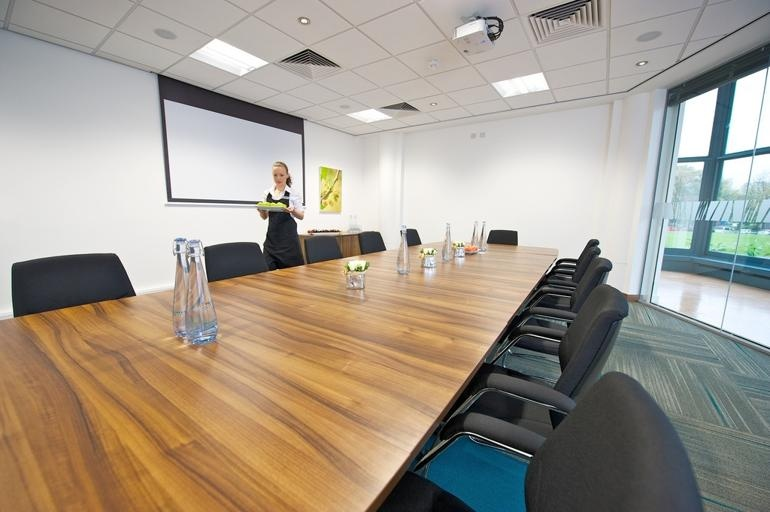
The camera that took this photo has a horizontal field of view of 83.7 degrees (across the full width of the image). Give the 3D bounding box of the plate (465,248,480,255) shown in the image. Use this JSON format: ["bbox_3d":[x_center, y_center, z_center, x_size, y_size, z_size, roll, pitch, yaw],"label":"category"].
[{"bbox_3d":[1.044,-0.054,5.163,0.091,0.020,0.130,6,17,27],"label":"plate"}]

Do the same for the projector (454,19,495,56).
[{"bbox_3d":[0.957,-2.382,4.712,0.395,0.228,0.398,5,10,26],"label":"projector"}]

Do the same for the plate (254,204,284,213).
[{"bbox_3d":[-1.313,-0.540,4.982,0.311,0.079,0.279,-2,9,-16],"label":"plate"}]
